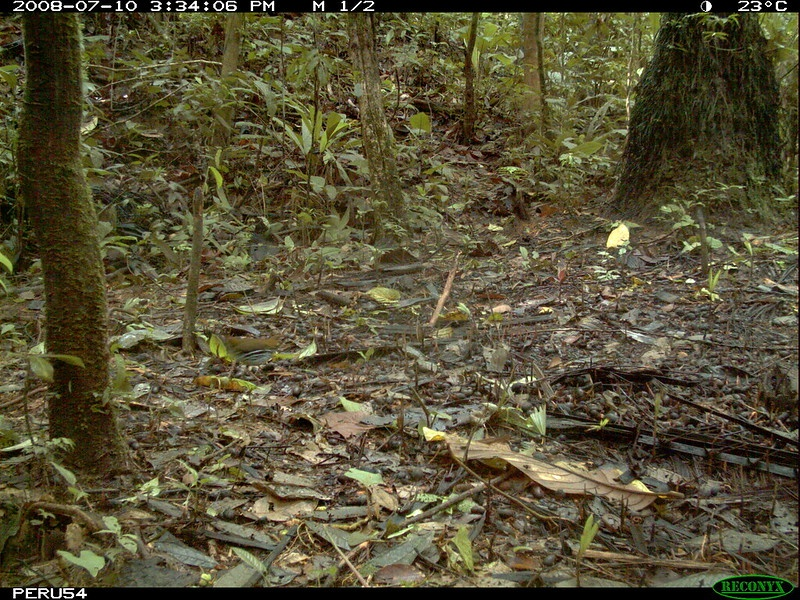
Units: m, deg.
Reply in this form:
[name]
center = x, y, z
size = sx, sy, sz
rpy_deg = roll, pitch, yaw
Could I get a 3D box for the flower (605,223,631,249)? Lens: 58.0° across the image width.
[flower]
center = 1.663, -0.479, 5.481
size = 0.167, 0.187, 0.289
rpy_deg = 5, 14, 13
